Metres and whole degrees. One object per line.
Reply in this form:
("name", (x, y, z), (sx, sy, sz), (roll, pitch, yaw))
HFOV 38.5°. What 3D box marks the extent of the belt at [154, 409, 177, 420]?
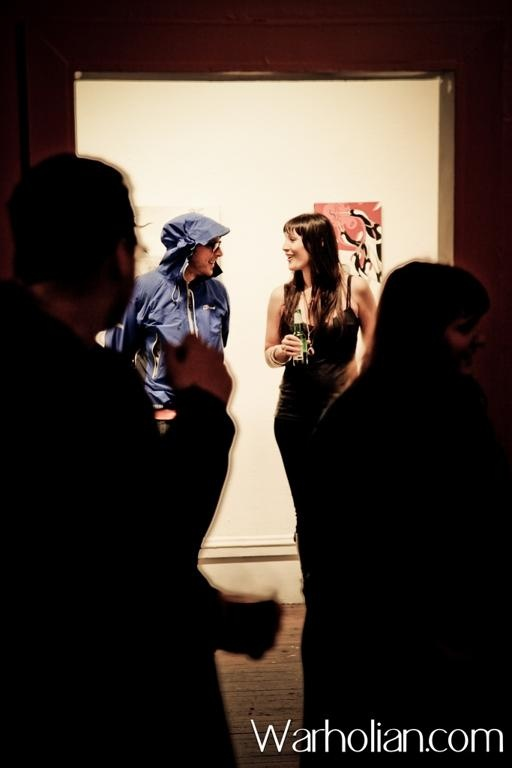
("belt", (-0.276, 0.087, 2.163), (0.036, 0.009, 0.039), (-4, 24, -17))
